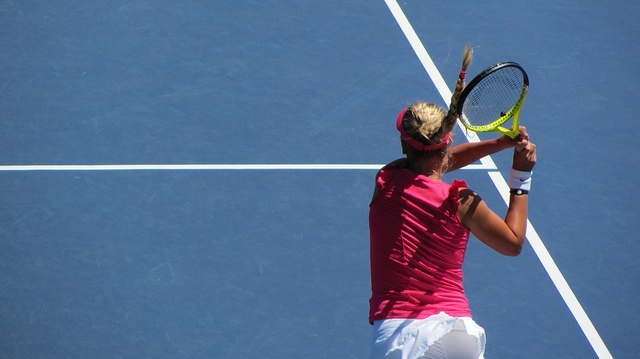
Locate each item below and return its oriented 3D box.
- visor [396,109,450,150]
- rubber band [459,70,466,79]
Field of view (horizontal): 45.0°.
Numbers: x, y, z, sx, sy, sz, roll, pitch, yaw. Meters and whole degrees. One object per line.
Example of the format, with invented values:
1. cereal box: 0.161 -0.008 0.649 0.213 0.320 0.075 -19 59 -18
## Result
1. visor: 1.142 -0.518 8.589 0.608 0.382 0.118 17 -12 5
2. rubber band: 1.551 -1.156 8.456 0.062 0.074 0.065 13 5 -9
